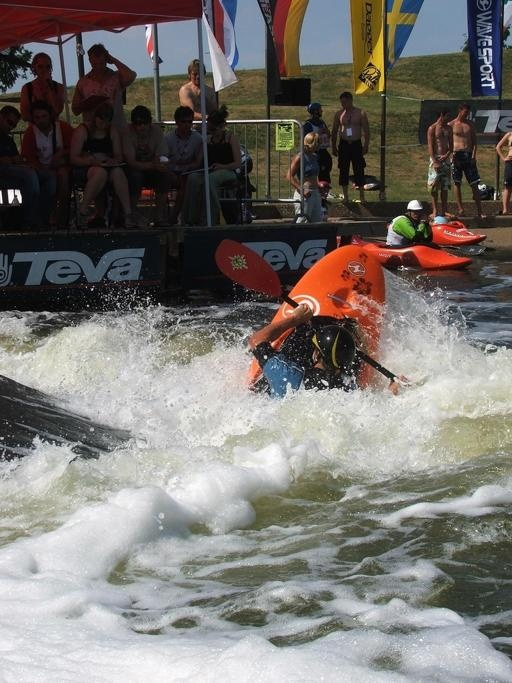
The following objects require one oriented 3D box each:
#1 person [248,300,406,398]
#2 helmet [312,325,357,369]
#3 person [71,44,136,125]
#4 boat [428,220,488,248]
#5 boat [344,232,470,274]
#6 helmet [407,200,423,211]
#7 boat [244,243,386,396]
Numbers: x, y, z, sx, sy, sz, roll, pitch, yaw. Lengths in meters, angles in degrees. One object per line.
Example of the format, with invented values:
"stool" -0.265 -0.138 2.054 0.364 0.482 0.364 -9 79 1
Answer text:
"person" 0.431 0.060 5.664 0.629 0.524 0.832 13 19 43
"helmet" 0.437 0.048 5.372 0.230 0.251 0.226 -8 -12 -24
"person" -1.464 -2.405 8.635 0.557 0.730 1.024 -2 14 -8
"boat" 2.651 -1.428 12.112 0.345 0.260 0.957 -11 14 -19
"boat" 1.991 -1.043 11.424 1.549 0.392 0.772 13 7 12
"helmet" 1.983 -1.705 11.519 0.194 0.092 0.149 2 16 40
"boat" 0.455 -0.159 6.290 0.535 0.199 1.447 35 41 3
